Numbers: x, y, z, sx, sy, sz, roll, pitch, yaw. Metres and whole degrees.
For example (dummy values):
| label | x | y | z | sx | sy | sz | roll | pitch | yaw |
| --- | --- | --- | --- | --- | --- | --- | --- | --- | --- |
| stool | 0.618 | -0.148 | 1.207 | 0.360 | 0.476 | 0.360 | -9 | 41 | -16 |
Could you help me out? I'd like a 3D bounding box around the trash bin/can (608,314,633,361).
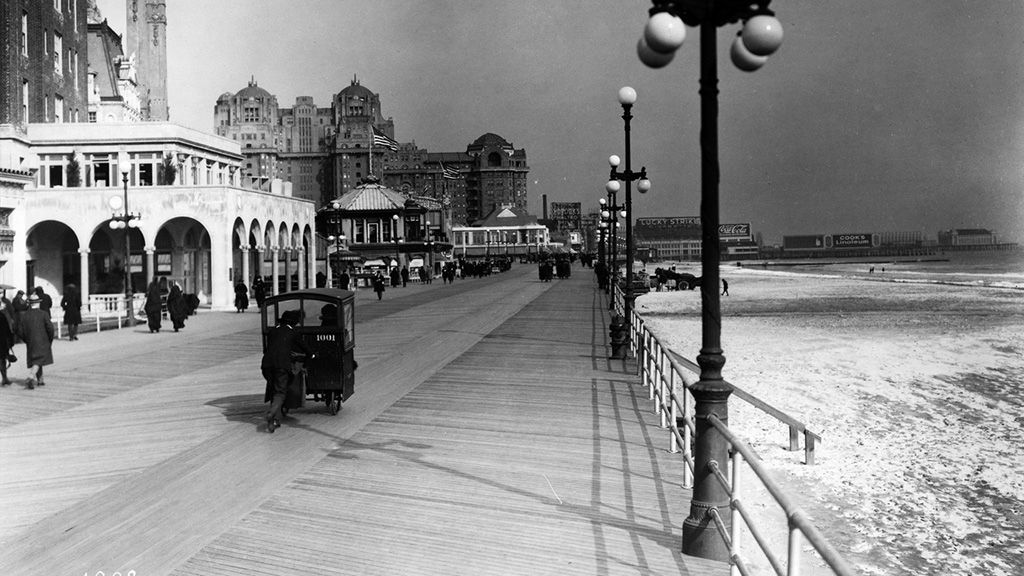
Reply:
| label | x | y | z | sx | sy | sz | roll | pitch | yaw |
| --- | --- | --- | --- | --- | --- | --- | --- | --- | --- |
| trash bin/can | 4.154 | 1.785 | 41.929 | 0.752 | 1.400 | 0.773 | 4 | 8 | 35 |
